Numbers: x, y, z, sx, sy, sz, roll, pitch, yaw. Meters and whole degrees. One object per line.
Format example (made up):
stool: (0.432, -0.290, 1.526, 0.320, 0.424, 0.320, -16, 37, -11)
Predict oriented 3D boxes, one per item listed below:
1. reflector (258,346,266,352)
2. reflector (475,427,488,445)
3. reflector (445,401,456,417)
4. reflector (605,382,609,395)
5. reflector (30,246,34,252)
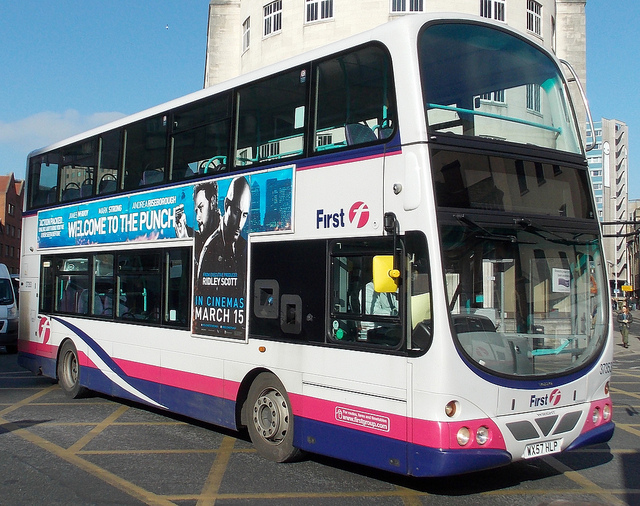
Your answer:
reflector: (-0.725, 1.225, 7.564, 0.122, 0.067, 0.010, -2, -4, 41)
reflector: (1.590, 1.814, 5.903, 0.151, 0.170, 0.018, 3, -3, -30)
reflector: (1.258, 1.523, 5.818, 0.115, 0.071, 0.122, -4, 11, -8)
reflector: (3.321, 1.578, 6.949, 0.011, 0.131, 0.095, -1, -4, 39)
reflector: (-6.171, -0.073, 12.855, 0.085, 0.091, 0.021, -7, -18, 39)
